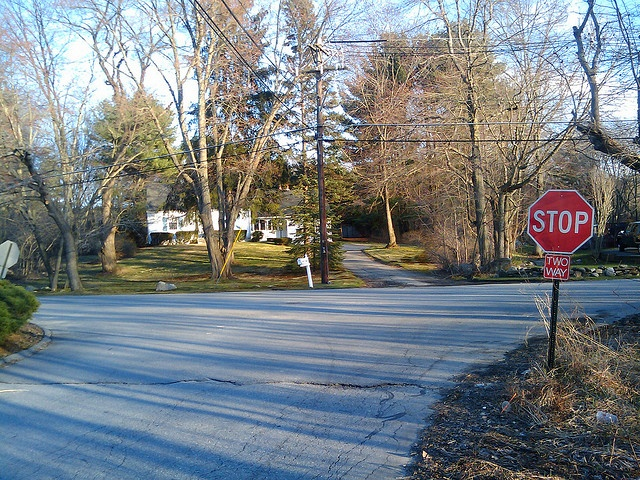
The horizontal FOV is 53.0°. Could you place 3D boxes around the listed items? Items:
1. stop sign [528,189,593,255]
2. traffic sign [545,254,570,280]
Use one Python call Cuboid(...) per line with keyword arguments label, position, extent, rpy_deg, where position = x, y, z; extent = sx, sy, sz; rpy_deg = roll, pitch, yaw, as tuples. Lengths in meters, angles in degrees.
Cuboid(label="stop sign", position=(4.261, -0.295, 11.380), extent=(1.067, 1.146, 0.535), rpy_deg=(2, 12, 23))
Cuboid(label="traffic sign", position=(4.213, 0.499, 11.399), extent=(0.428, 0.484, 0.484), rpy_deg=(1, 11, 17))
